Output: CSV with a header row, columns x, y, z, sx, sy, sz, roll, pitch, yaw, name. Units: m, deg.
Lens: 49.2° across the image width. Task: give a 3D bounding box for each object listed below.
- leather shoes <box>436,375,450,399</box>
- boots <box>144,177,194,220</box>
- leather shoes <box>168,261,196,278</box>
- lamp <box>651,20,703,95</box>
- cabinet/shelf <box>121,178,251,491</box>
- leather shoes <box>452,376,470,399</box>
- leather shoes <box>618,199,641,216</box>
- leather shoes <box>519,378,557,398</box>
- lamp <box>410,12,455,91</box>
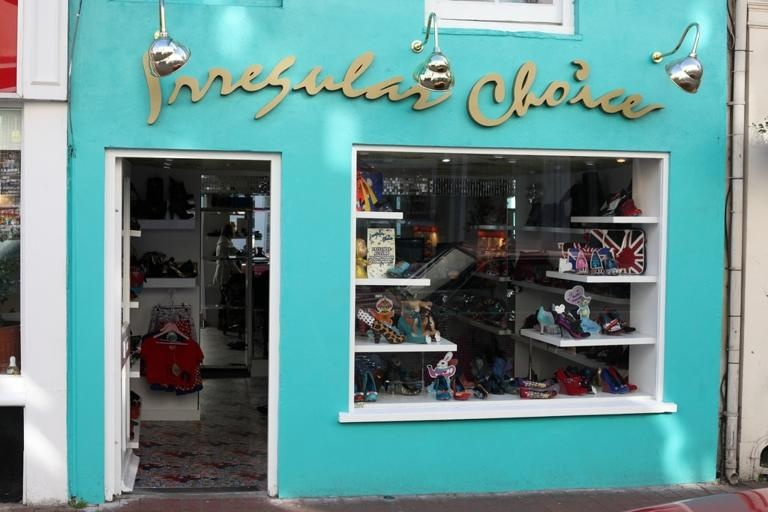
x,y,z,sx,sy,sz,roll,pitch,yaw,name
0.613,1.373,8.665,0.172,0.225,0.064,0,6,2,leather shoes
-2.880,-0.735,11.048,0.464,0.588,0.190,-5,9,-24,boots
-2.618,0.181,10.887,0.501,0.194,0.159,3,6,33,leather shoes
2.959,-1.985,8.287,0.543,0.728,0.758,1,7,9,lamp
-2.407,0.482,10.860,1.791,3.291,4.448,-1,7,-8,cabinet/shelf
0.797,1.379,8.695,0.165,0.233,0.081,1,-10,-6,leather shoes
2.576,-0.510,8.812,0.217,0.216,0.140,6,-3,2,leather shoes
1.620,1.395,8.761,0.331,0.197,0.116,7,-35,-3,leather shoes
0.471,-1.998,8.117,0.423,0.781,0.590,0,7,1,lamp
